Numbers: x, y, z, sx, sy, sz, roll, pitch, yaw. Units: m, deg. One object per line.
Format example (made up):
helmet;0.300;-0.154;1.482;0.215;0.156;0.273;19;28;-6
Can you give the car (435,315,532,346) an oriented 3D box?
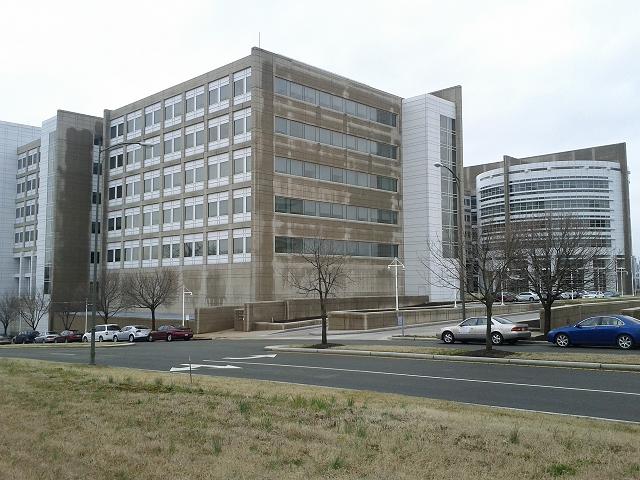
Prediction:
car;8.137;4.574;31.122;4.091;1.346;1.483;-5;-8;23
